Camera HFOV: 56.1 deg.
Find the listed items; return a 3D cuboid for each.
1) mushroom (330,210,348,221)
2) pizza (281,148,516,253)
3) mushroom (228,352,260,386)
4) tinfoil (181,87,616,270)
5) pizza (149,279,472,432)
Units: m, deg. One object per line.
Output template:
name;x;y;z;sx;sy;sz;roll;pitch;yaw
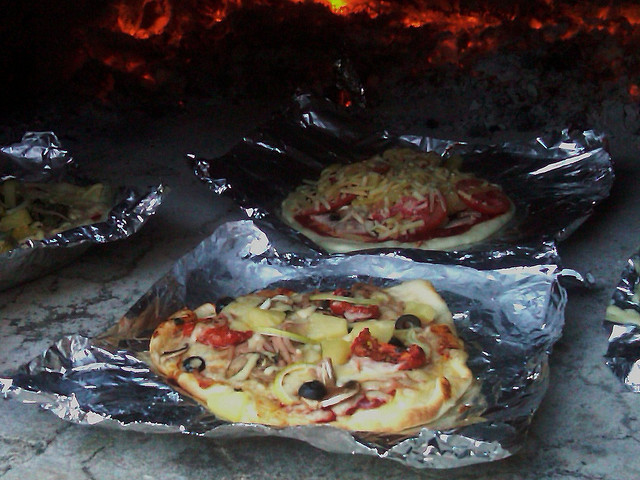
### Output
mushroom;0.078;-0.105;2.578;0.056;0.013;0.064;21;42;33
pizza;0.267;-0.258;2.768;1.427;0.355;0.779;-7;15;-17
mushroom;-0.209;0.375;1.735;0.076;0.023;0.096;16;56;23
tinfoil;0.237;-0.227;2.668;1.881;0.235;0.994;6;27;10
pizza;-0.029;0.332;1.785;1.075;0.138;0.455;-5;63;-27
